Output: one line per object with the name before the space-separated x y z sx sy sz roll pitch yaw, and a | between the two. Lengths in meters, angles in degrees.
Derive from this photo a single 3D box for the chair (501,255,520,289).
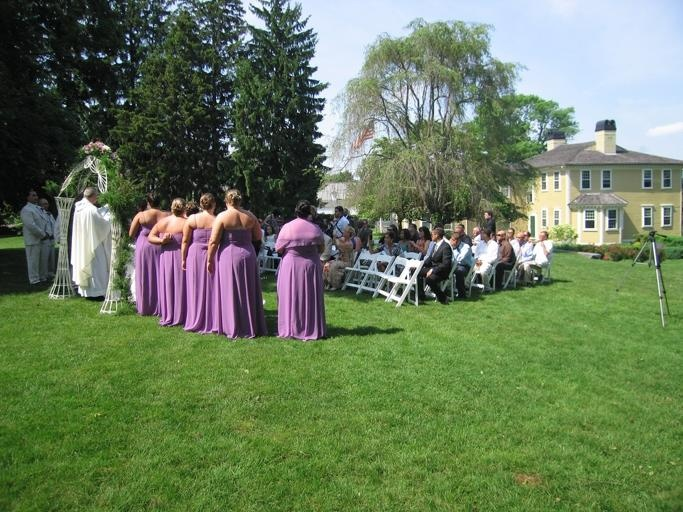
chair | 4.554 0.528 17.092 0.602 1.046 0.499 1 1 23

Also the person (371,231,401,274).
person | 1.168 0.020 16.470 0.693 1.383 0.541 3 -10 -19

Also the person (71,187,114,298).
person | -5.488 -0.168 13.922 0.811 2.222 0.430 -2 6 -28

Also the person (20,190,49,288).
person | -7.796 -0.504 16.149 0.582 2.249 1.123 -2 7 -27

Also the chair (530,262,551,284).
chair | 5.529 0.467 17.740 0.447 0.776 0.401 -7 8 -21

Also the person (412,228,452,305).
person | 2.224 0.150 15.015 0.658 1.632 0.718 13 25 43

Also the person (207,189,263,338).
person | -1.856 0.123 11.335 1.027 2.601 0.547 -1 6 -15

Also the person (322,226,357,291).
person | -0.021 0.007 16.451 0.933 1.590 0.847 -2 7 -26

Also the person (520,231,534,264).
person | 5.162 -0.264 17.660 0.375 0.817 0.608 4 7 29

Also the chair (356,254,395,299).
chair | 0.863 0.444 15.906 0.673 1.489 0.979 6 -2 37

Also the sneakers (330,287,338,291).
sneakers | -0.198 0.830 16.152 0.179 0.108 0.061 3 -3 -32

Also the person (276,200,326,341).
person | -0.720 0.245 11.341 0.897 2.438 0.470 0 6 -4

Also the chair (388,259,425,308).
chair | 1.514 0.574 14.787 0.902 1.500 0.772 2 0 -32

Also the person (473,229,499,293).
person | 3.671 0.097 16.520 0.579 1.631 0.784 4 3 23
